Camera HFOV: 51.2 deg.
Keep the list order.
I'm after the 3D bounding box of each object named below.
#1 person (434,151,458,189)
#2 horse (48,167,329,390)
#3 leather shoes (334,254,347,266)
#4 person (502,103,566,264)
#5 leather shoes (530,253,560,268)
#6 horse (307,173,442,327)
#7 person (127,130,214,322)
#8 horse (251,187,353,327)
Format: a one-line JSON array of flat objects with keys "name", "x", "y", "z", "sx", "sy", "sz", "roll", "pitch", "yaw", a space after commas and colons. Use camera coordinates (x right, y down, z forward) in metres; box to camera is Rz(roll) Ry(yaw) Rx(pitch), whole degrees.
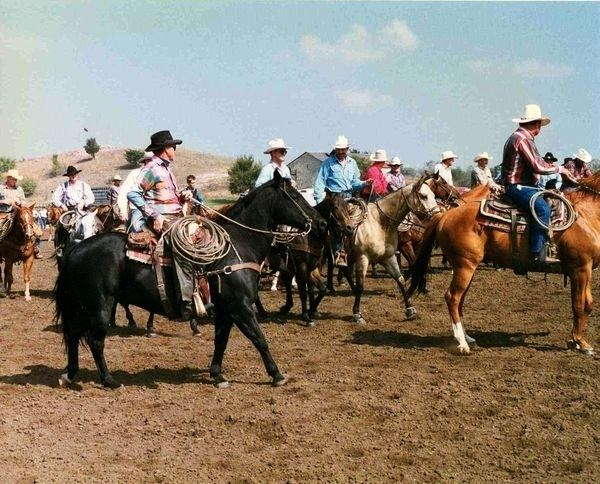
[{"name": "person", "x": 3.785, "y": -1.785, "z": 16.145, "sx": 0.608, "sy": 1.178, "sz": 0.702, "roll": 12, "pitch": 26, "yaw": 39}, {"name": "horse", "x": -1.574, "y": 0.629, "z": 8.989, "sx": 3.462, "sy": 2.615, "sz": 1.013, "roll": 1, "pitch": -5, "yaw": -8}, {"name": "leather shoes", "x": 0.709, "y": 0.324, "z": 10.888, "sx": 0.143, "sy": 0.234, "sz": 0.229, "roll": 0, "pitch": 15, "yaw": -4}, {"name": "person", "x": 3.332, "y": -0.825, "z": 8.937, "sx": 0.567, "sy": 2.202, "sz": 0.873, "roll": -4, "pitch": 11, "yaw": -18}, {"name": "leather shoes", "x": 3.483, "y": 0.277, "z": 8.839, "sx": 0.387, "sy": 0.278, "sz": 0.290, "roll": 3, "pitch": 11, "yaw": 19}, {"name": "horse", "x": 1.331, "y": 0.183, "z": 11.524, "sx": 0.932, "sy": 2.538, "sz": 3.740, "roll": -2, "pitch": 3, "yaw": -28}, {"name": "person", "x": -1.812, "y": -0.213, "z": 8.149, "sx": 0.762, "sy": 2.487, "sz": 1.003, "roll": 3, "pitch": 8, "yaw": 4}, {"name": "horse", "x": -0.029, "y": 0.375, "z": 11.362, "sx": 0.864, "sy": 2.229, "sz": 3.120, "roll": 1, "pitch": -5, "yaw": -34}]
